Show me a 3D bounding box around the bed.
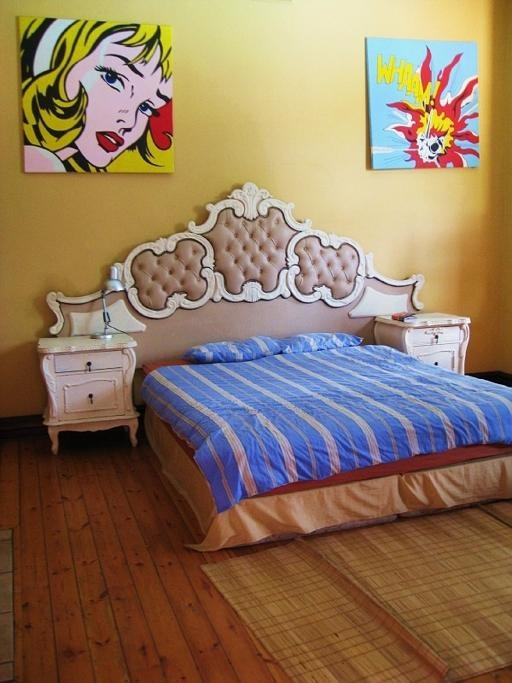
[{"bbox_3d":[-0.028,0.084,3.361,2.276,1.306,1.191,-3,6,-19],"label":"bed"}]

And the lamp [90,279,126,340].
[{"bbox_3d":[-1.009,-0.227,3.775,0.226,0.398,0.346,-4,15,-12],"label":"lamp"}]

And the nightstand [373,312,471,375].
[{"bbox_3d":[1.406,0.076,4.483,0.560,0.528,0.369,-6,14,0],"label":"nightstand"}]

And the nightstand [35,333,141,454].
[{"bbox_3d":[-1.140,0.356,3.658,0.635,0.654,0.465,-3,1,-40],"label":"nightstand"}]
